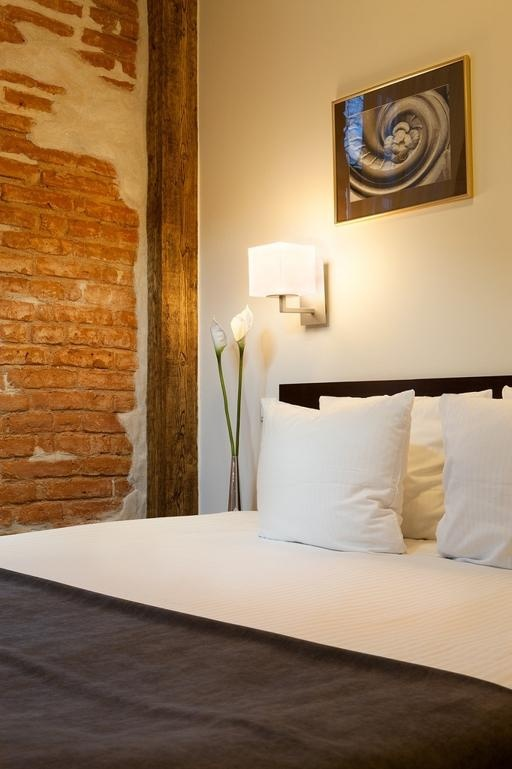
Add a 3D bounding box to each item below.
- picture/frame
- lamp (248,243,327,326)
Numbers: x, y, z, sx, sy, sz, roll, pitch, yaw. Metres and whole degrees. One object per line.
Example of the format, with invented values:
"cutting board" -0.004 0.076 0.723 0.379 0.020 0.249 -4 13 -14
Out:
"picture/frame" 0.623 -0.994 2.200 0.028 0.706 0.732 3 -5 -42
"lamp" 0.171 -0.446 2.502 0.275 0.353 0.283 -1 7 -4
